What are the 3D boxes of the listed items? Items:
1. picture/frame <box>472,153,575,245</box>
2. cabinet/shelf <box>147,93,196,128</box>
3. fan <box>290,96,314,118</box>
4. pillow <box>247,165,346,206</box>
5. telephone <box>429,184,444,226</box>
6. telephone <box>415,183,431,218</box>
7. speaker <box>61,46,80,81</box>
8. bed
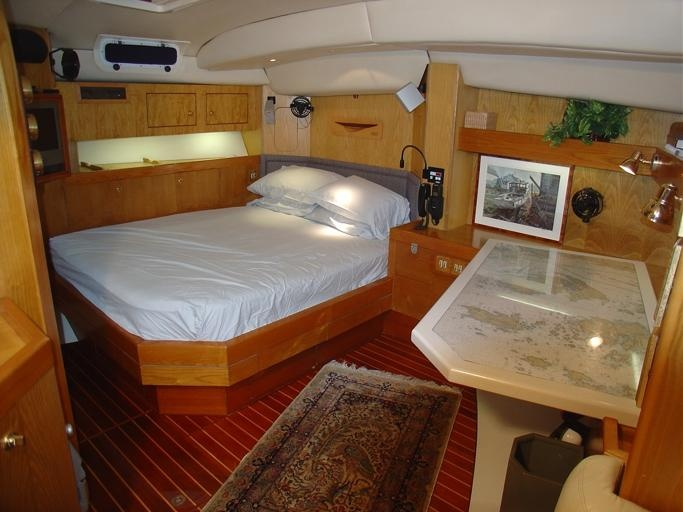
[{"bbox_3d":[1.333,-0.412,3.416,0.611,0.501,0.024,22,29,35],"label":"picture/frame"},{"bbox_3d":[-1.669,-1.417,4.590,0.359,0.411,0.615,-4,17,-17],"label":"cabinet/shelf"},{"bbox_3d":[-0.421,-1.517,4.802,0.199,0.204,0.049,5,24,20],"label":"fan"},{"bbox_3d":[-0.416,-0.690,4.434,0.540,0.158,0.509,16,34,34],"label":"pillow"},{"bbox_3d":[0.719,-0.384,3.589,0.103,0.314,0.065,12,17,41],"label":"telephone"},{"bbox_3d":[0.621,-0.435,3.646,0.090,0.307,0.223,7,22,20],"label":"telephone"},{"bbox_3d":[-2.072,-1.455,3.598,0.120,0.225,0.151,-16,23,-42],"label":"speaker"},{"bbox_3d":[-0.594,0.343,3.569,2.107,1.031,2.216,20,27,38],"label":"bed"}]
